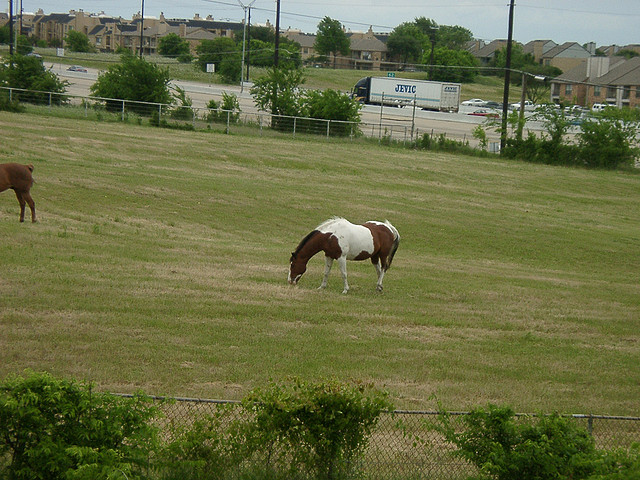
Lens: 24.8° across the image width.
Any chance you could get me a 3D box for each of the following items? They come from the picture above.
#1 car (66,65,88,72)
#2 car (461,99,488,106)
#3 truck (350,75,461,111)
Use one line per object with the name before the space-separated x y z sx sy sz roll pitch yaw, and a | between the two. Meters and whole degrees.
car | -25.479 -17.711 150.210 2.274 0.703 1.097 6 11 37
car | 17.496 -15.511 164.412 2.564 0.700 1.242 0 8 -10
truck | 8.886 -14.654 145.848 10.143 2.968 4.032 3 7 -1
